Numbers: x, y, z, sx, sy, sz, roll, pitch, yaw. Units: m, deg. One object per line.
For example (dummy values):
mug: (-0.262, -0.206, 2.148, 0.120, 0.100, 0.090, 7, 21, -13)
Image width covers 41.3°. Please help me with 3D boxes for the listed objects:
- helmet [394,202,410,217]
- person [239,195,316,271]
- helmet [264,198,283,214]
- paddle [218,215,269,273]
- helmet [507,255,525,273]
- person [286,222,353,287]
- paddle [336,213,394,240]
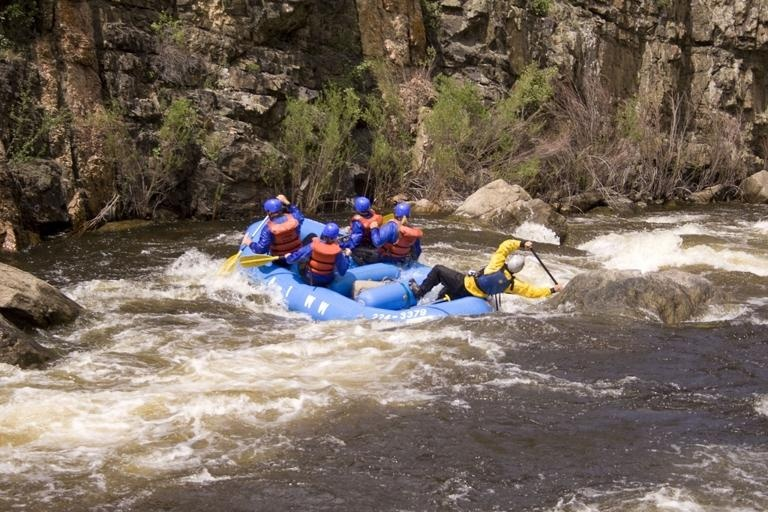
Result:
helmet: (0.421, -1.114, 24.999, 0.395, 0.407, 0.426, 7, 24, -2)
person: (-2.571, -0.395, 25.134, 1.167, 2.409, 1.467, 35, 61, 24)
helmet: (-2.668, -1.265, 24.580, 0.323, 0.378, 0.413, -27, 41, -33)
paddle: (-3.665, -0.294, 26.224, 2.196, 0.360, 0.079, -40, 0, -7)
helmet: (2.988, 0.174, 23.041, 0.411, 0.290, 0.335, -34, -11, 11)
person: (-1.554, 0.002, 24.015, 1.012, 1.456, 0.946, 14, 45, -16)
paddle: (-0.438, -0.754, 25.337, 0.763, 0.447, 1.005, -8, -16, -40)
